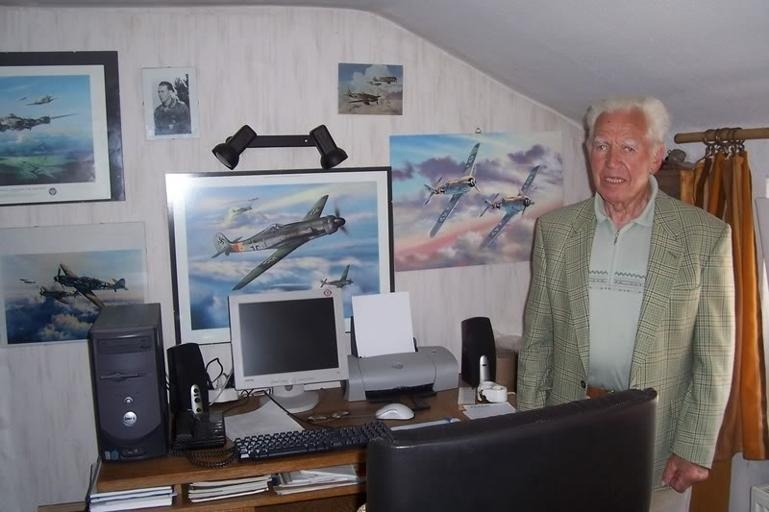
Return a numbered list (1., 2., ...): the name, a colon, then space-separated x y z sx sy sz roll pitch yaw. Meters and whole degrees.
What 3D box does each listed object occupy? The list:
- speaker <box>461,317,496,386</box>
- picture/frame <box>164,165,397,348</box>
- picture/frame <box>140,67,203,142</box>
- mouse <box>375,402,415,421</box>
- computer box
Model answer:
1. speaker: 0.511 0.525 3.203 0.158 0.357 0.188 -5 6 -25
2. picture/frame: -0.612 0.008 3.109 0.962 0.697 0.020 -4 7 -13
3. picture/frame: -1.122 -0.799 3.022 0.370 0.467 0.020 -3 5 -19
4. mouse: 0.042 0.748 2.809 0.142 0.046 0.088 2 1 2
5. computer box: -1.158 0.573 2.654 0.296 0.616 0.361 -5 8 -21
